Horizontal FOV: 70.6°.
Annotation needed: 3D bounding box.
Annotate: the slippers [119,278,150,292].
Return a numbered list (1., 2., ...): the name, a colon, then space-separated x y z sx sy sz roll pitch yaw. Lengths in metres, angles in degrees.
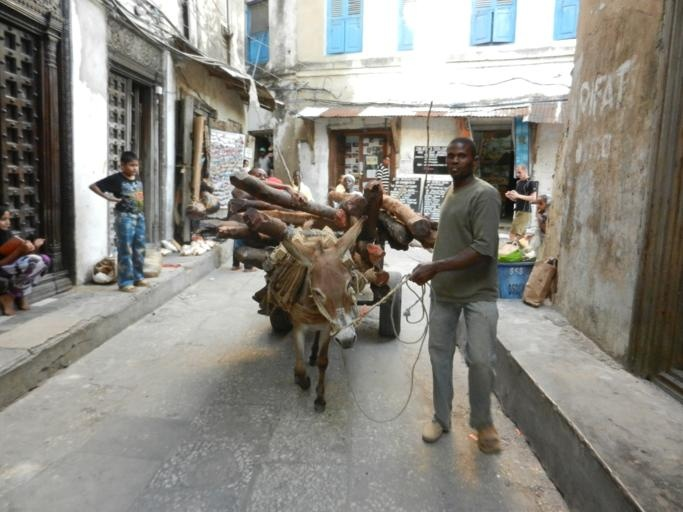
1. slippers: -3.082 0.450 7.189 0.420 0.200 0.134 -20 -28 25

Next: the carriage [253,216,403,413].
1. carriage: -0.392 0.524 5.521 1.082 1.972 3.086 2 8 -8

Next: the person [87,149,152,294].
1. person: -3.161 -0.535 7.107 0.562 2.042 0.692 7 13 17

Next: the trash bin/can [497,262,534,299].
1. trash bin/can: 2.458 0.367 6.973 0.610 0.494 0.605 1 -4 -40

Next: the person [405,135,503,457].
1. person: 0.982 0.290 4.324 0.996 2.472 0.784 0 2 -5
